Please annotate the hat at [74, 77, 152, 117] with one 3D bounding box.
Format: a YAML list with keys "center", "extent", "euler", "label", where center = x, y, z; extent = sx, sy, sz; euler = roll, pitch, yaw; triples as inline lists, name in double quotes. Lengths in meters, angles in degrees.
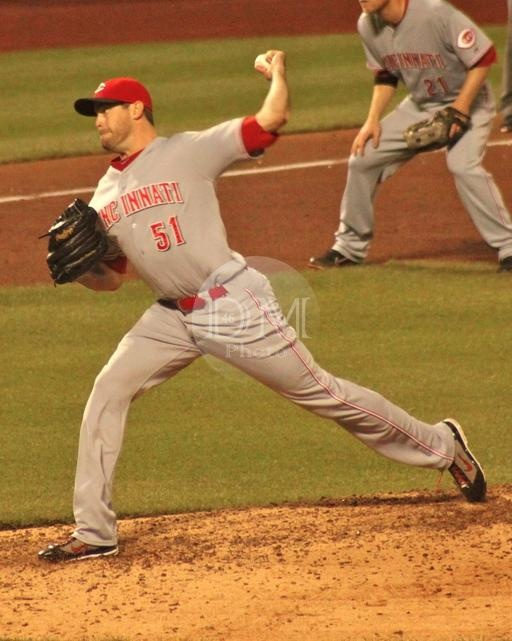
- center: [-0.523, -0.814, 3.263]
  extent: [0.252, 0.114, 0.162]
  euler: [6, 0, -6]
  label: "hat"

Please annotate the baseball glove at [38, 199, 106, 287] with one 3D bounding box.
- center: [-0.682, -0.263, 3.361]
  extent: [0.268, 0.116, 0.316]
  euler: [10, 50, 20]
  label: "baseball glove"

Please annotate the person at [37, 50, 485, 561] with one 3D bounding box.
- center: [-0.189, -0.069, 3.336]
  extent: [1.611, 1.690, 0.587]
  euler: [-11, 17, -7]
  label: "person"

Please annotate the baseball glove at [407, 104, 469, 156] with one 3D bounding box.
- center: [1.030, -1.099, 5.060]
  extent: [0.388, 0.162, 0.201]
  euler: [-16, 32, 6]
  label: "baseball glove"

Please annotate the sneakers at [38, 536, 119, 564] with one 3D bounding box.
- center: [-0.660, 0.843, 3.289]
  extent: [0.307, 0.102, 0.102]
  euler: [0, 0, -5]
  label: "sneakers"

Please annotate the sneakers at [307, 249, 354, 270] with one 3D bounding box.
- center: [0.489, -0.402, 5.819]
  extent: [0.310, 0.109, 0.118]
  euler: [2, -1, -5]
  label: "sneakers"
